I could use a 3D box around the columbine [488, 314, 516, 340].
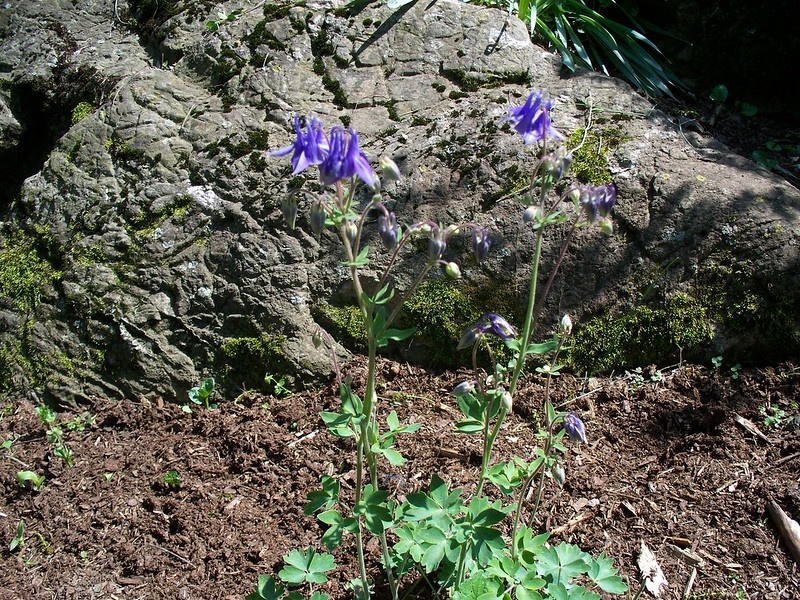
[{"bbox_3d":[0.608,0.164,5.441,0.174,0.139,0.097,21,30,14],"label":"columbine"}]

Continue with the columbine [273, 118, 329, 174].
[{"bbox_3d":[-0.543,-0.858,5.272,0.325,0.191,0.357,-10,50,-2],"label":"columbine"}]

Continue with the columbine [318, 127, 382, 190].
[{"bbox_3d":[-0.307,-0.813,5.156,0.267,0.233,0.337,-8,28,-21],"label":"columbine"}]
